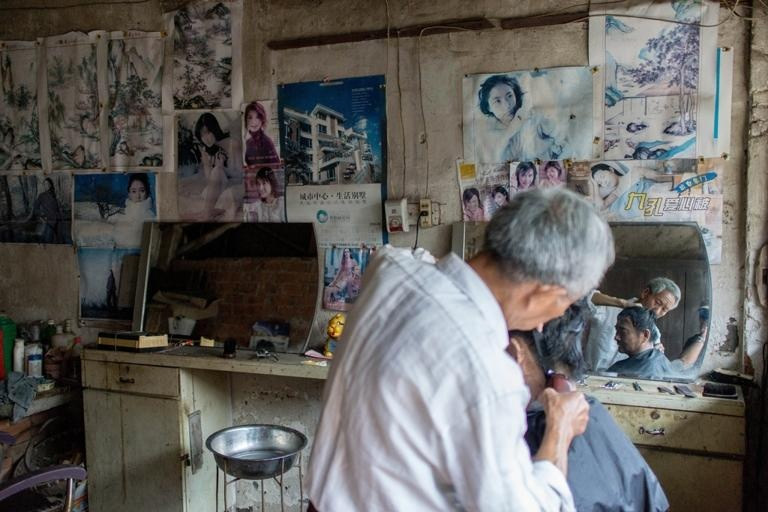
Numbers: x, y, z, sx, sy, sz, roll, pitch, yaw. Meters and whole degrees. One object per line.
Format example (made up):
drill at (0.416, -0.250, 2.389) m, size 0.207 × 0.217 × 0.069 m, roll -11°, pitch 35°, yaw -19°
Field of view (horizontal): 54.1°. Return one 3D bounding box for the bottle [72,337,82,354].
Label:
bottle at (-2.416, 0.719, 5.916) m, size 0.079 × 0.127 × 0.030 m, roll 22°, pitch -21°, yaw -32°

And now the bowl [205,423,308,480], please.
bowl at (-0.855, 1.337, 5.049) m, size 0.627 × 0.294 × 0.586 m, roll 0°, pitch -3°, yaw 0°

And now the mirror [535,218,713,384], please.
mirror at (1.517, 0.282, 4.613) m, size 1.061 × 0.919 × 0.081 m, roll 1°, pitch 0°, yaw 12°
